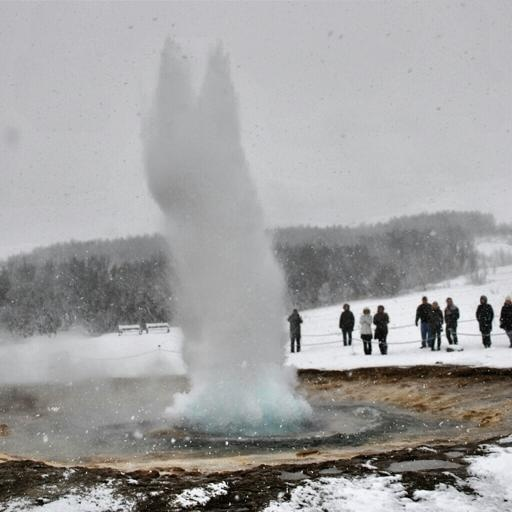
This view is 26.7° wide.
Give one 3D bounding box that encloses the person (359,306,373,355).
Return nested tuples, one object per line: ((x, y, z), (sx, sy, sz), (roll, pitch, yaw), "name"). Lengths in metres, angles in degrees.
((3.278, 2.228, 32.003), (0.397, 1.318, 1.582), (-3, 0, 6), "person")

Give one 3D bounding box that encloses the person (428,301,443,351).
((5.236, 2.029, 31.348), (0.401, 1.284, 1.119), (-3, 0, 9), "person")

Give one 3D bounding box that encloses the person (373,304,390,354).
((3.720, 2.112, 31.990), (0.416, 1.452, 0.425), (-3, 14, 8), "person")

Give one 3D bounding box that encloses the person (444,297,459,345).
((5.718, 1.886, 31.562), (0.416, 1.232, 1.724), (-3, 0, 10), "person")

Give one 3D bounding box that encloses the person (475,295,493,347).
((6.536, 1.866, 30.736), (0.430, 1.307, 1.378), (-3, 0, 13), "person")
